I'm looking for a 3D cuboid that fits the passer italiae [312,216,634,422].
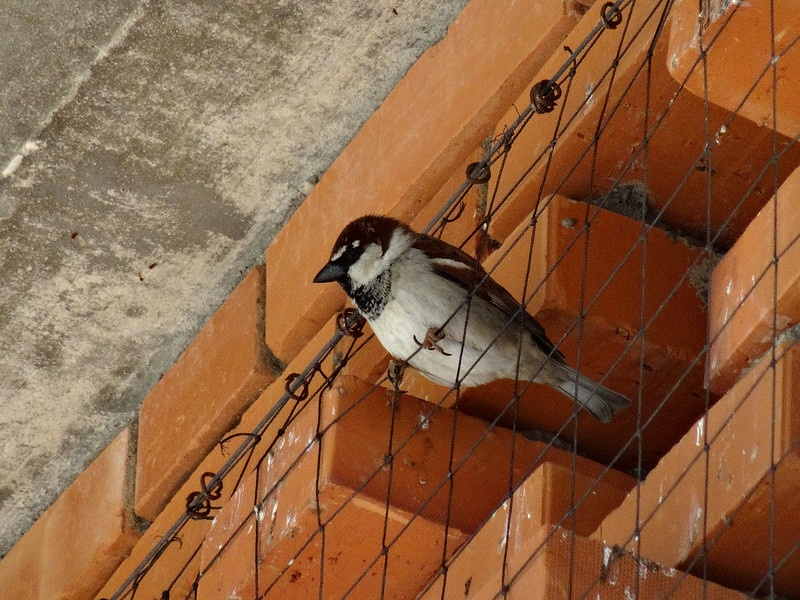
[{"bbox_3d":[0.108,0.021,4.660,0.884,0.313,0.458,16,51,17],"label":"passer italiae"}]
